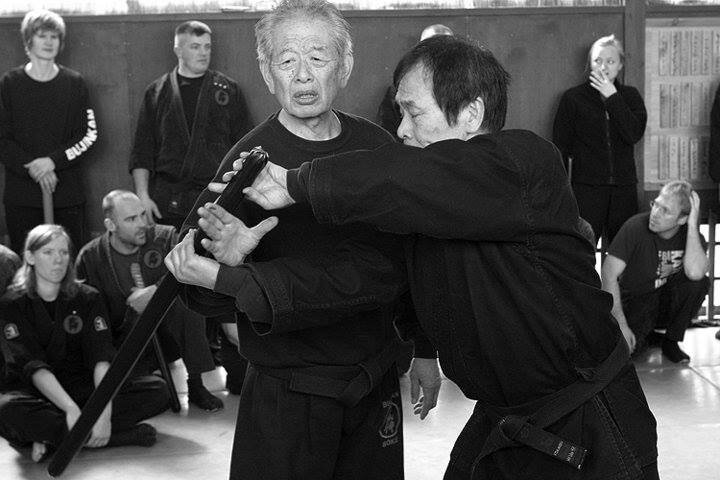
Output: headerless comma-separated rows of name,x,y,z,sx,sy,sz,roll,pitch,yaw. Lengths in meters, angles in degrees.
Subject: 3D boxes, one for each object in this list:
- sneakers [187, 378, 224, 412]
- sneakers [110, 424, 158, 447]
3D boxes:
sneakers,-1.057,1.050,5.420,0.132,0.225,0.333,-4,4,-44
sneakers,-1.381,1.207,4.905,0.317,0.092,0.110,-4,3,-12
